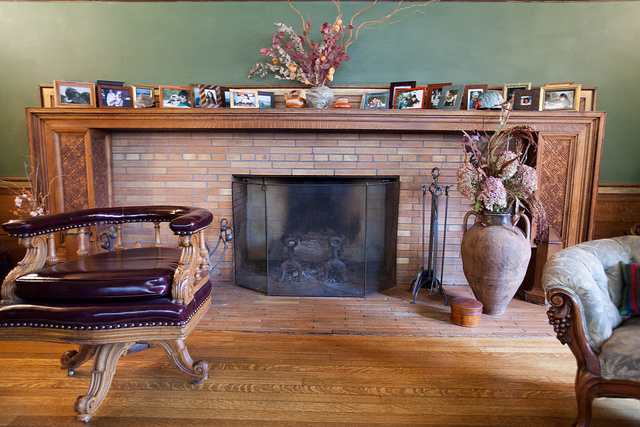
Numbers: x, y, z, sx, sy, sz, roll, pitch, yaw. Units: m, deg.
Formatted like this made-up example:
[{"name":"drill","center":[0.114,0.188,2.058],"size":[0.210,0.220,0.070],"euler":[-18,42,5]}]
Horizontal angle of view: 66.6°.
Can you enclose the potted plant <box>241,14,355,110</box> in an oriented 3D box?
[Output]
[{"name":"potted plant","center":[-0.225,-1.337,4.388],"size":[1.020,0.667,0.273],"euler":[-11,22,-20]}]

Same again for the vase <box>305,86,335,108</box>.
[{"name":"vase","center":[0.003,-1.009,4.232],"size":[0.241,0.127,0.216],"euler":[-1,13,-7]}]

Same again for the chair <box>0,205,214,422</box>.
[{"name":"chair","center":[-1.360,0.637,3.248],"size":[1.284,1.296,0.597],"euler":[-2,11,-10]}]

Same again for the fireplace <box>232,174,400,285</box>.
[{"name":"fireplace","center":[-0.042,0.148,4.638],"size":[1.541,1.045,0.379],"euler":[1,12,7]}]
